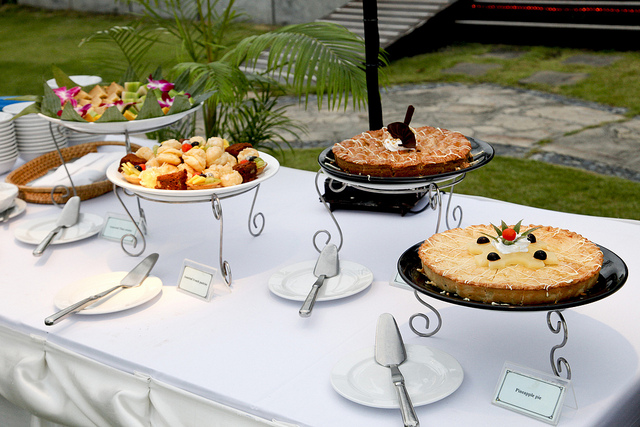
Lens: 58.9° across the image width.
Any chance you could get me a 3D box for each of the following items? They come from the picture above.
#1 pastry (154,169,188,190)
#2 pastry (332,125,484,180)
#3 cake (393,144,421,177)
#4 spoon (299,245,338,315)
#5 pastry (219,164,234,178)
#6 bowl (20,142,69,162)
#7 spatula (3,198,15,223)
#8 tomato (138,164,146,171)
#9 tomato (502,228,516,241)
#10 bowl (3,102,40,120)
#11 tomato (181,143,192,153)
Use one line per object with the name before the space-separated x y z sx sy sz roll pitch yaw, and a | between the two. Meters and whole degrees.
pastry | -0.537 -0.122 2.078 0.082 0.034 0.071 7 61 -3
pastry | 0.372 -0.241 2.332 0.628 0.137 0.685 0 21 18
cake | 0.318 -0.189 2.117 0.124 0.032 0.132 3 36 8
spoon | 0.004 0.240 2.072 0.089 0.045 0.383 1 33 18
pastry | -0.357 -0.167 2.160 0.048 0.021 0.052 -7 33 4
bowl | -1.500 -0.314 3.011 0.191 0.059 0.189 -2 20 1
spatula | -1.418 0.001 2.606 0.037 0.016 0.139 16 55 -18
tomato | -0.685 -0.180 2.213 0.025 0.022 0.040 -5 24 -32
tomato | 0.591 0.067 1.777 0.035 0.035 0.035 1 3 7
bowl | -1.452 -0.496 2.769 0.186 0.044 0.187 4 21 -2
tomato | -0.527 -0.259 2.244 0.032 0.021 0.032 -14 45 -14
